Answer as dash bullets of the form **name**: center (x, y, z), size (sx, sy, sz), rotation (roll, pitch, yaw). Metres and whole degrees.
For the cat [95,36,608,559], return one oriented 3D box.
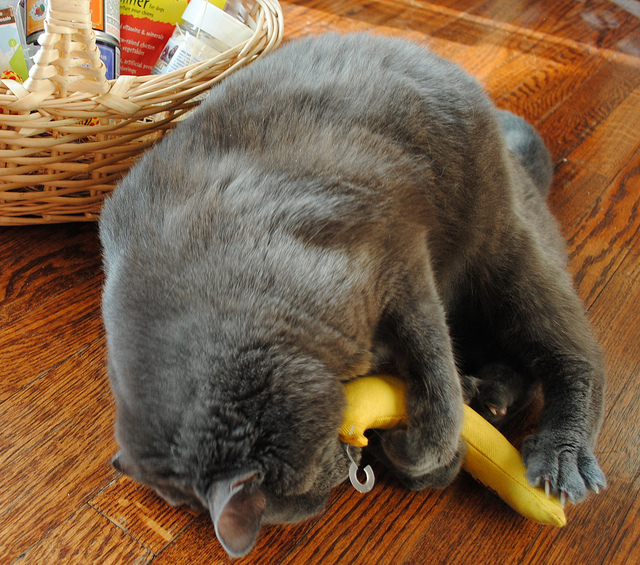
- **cat**: center (0.029, -0.021, 1.477), size (0.736, 0.649, 1.147), rotation (46, 61, -13)

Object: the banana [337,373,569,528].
- **banana**: center (0.219, 0.299, 1.157), size (0.439, 0.117, 0.090), rotation (20, 40, 6)
